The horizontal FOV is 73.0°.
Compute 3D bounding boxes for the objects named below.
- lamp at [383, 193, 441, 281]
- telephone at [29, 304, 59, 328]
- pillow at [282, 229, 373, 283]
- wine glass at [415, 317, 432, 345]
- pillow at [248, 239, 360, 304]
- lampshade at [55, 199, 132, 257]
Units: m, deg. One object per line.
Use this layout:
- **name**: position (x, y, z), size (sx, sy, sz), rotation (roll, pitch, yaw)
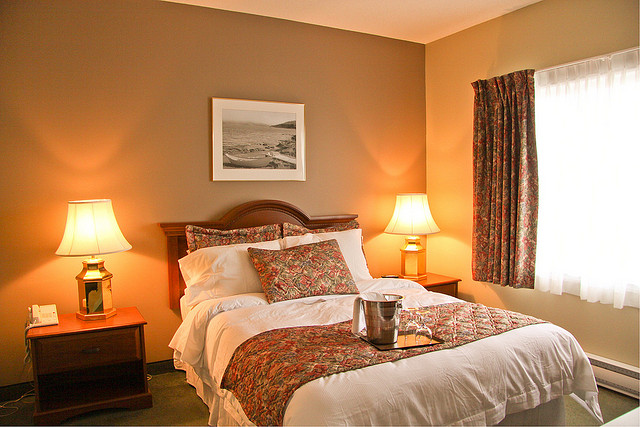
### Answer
- **lamp**: position (1.139, 0.289, 5.221), size (1.023, 1.023, 0.987), rotation (0, 1, -3)
- **telephone**: position (-2.390, 0.868, 3.736), size (0.206, 0.158, 0.243), rotation (-9, 16, -34)
- **pillow**: position (-0.055, 0.440, 4.367), size (0.772, 0.324, 1.099), rotation (6, 18, -15)
- **wine glass**: position (0.780, 0.875, 3.298), size (0.113, 0.155, 0.118), rotation (25, 3, 40)
- **pillow**: position (-0.141, 0.531, 4.064), size (0.955, 0.443, 0.427), rotation (-4, 14, -19)
- **lampshade**: position (-2.082, 0.127, 3.975), size (0.700, 0.482, 0.708), rotation (-4, 5, -26)
